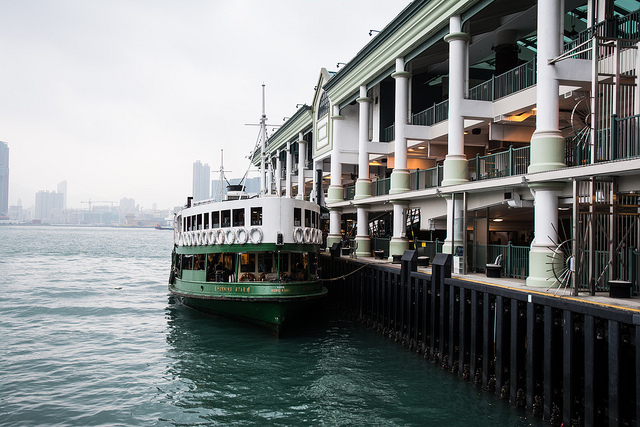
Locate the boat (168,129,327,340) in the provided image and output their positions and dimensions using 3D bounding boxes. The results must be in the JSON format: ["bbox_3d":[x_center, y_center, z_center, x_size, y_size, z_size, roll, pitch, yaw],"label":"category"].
[{"bbox_3d":[-4.039,0.721,33.126,8.059,11.994,8.929,4,-7,-11],"label":"boat"}]
